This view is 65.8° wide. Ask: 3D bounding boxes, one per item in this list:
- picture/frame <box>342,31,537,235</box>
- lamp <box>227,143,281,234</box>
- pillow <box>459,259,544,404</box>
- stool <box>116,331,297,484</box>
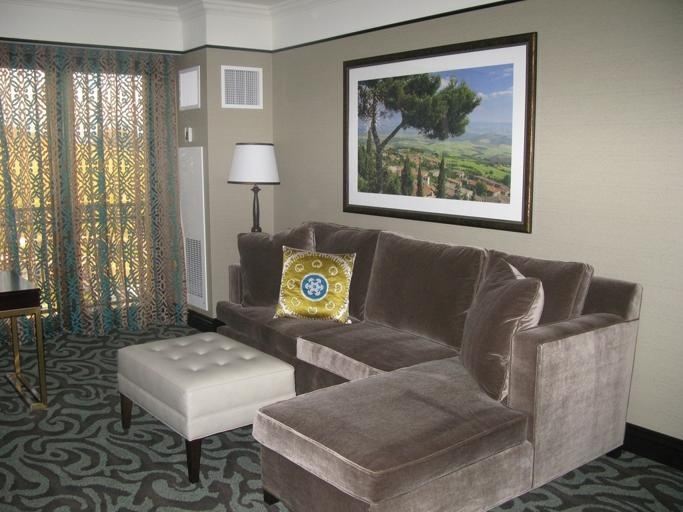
[{"bbox_3d":[0.752,-0.905,3.859,1.664,1.247,0.034,6,9,41],"label":"picture/frame"},{"bbox_3d":[-0.814,-0.631,4.813,0.427,0.789,0.618,-3,13,-11],"label":"lamp"},{"bbox_3d":[0.818,0.396,2.652,0.320,0.567,0.648,-6,5,-7],"label":"pillow"},{"bbox_3d":[-0.872,0.839,3.295,0.740,0.486,1.020,-5,9,-42],"label":"stool"}]
